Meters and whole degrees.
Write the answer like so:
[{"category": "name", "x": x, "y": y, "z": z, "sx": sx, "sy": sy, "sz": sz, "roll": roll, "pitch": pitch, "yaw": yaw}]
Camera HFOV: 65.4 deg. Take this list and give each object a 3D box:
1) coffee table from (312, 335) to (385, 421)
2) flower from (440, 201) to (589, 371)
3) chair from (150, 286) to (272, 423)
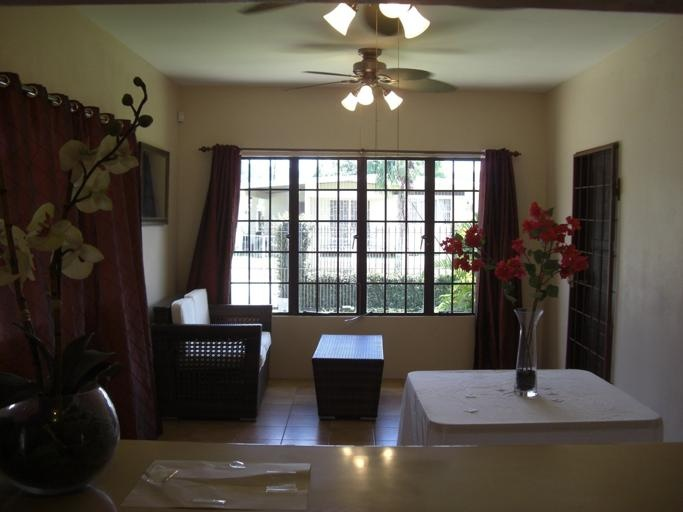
[{"category": "coffee table", "x": 0.051, "y": 0.960, "z": 4.372, "sx": 0.540, "sy": 0.547, "sz": 0.561, "roll": 0, "pitch": 1, "yaw": 0}, {"category": "flower", "x": 1.007, "y": 0.130, "z": 2.707, "sx": 0.448, "sy": 0.610, "sz": 0.460, "roll": 8, "pitch": -16, "yaw": -20}, {"category": "chair", "x": -1.094, "y": 0.801, "z": 4.684, "sx": 0.874, "sy": 0.867, "sz": 1.193, "roll": 2, "pitch": 2, "yaw": -6}]
